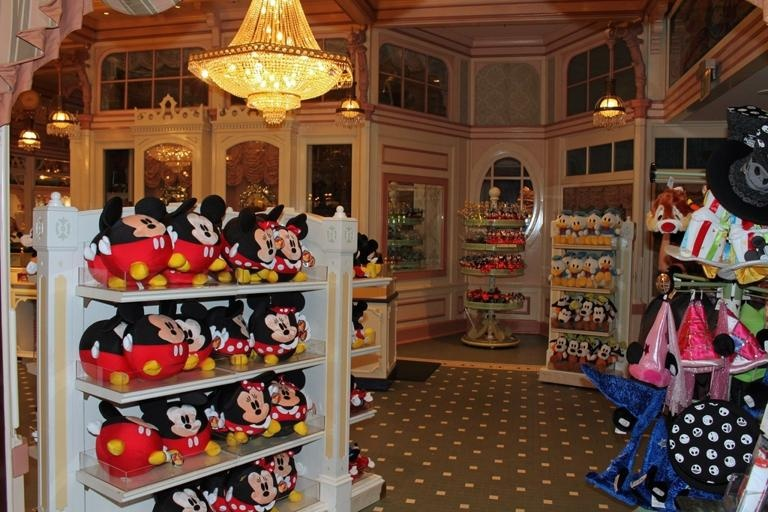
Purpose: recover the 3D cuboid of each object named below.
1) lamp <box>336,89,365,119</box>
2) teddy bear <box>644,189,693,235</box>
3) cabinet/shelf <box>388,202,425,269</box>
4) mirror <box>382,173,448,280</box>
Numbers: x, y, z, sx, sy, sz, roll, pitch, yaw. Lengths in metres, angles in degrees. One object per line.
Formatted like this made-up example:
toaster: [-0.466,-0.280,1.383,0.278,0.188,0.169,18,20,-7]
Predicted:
lamp: [-0.388,-1.759,6.485,0.282,0.311,0.287,4,6,17]
teddy bear: [1.790,-0.321,3.474,0.264,0.379,0.143,10,-30,41]
cabinet/shelf: [0.343,-0.298,8.801,0.820,0.943,0.838,0,0,1]
mirror: [0.431,-0.493,8.558,1.525,1.802,0.126,-7,10,-42]
